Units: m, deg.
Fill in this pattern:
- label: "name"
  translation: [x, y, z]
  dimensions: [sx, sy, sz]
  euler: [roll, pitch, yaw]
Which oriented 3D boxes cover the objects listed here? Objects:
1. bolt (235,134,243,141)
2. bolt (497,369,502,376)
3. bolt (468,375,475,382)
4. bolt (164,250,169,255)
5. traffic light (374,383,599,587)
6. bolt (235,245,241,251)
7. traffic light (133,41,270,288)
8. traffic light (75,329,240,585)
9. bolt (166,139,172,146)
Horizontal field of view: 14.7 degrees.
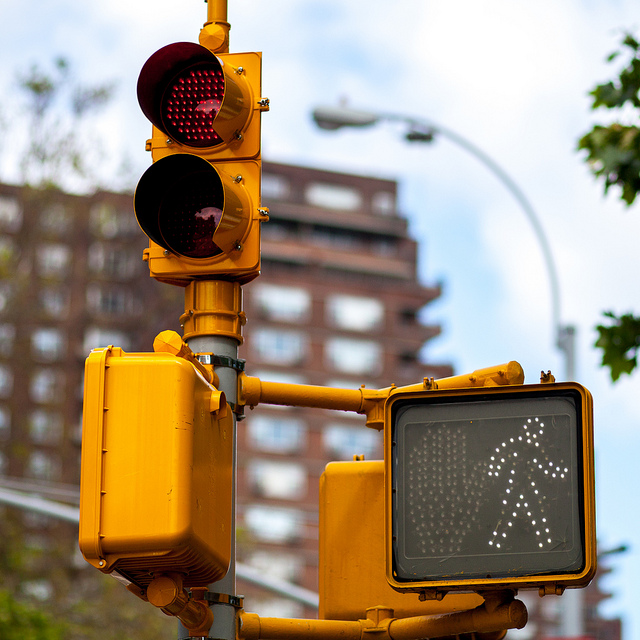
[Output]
- label: "bolt"
  translation: [-0.389, -0.847, 11.951]
  dimensions: [0.022, 0.029, 0.045]
  euler: [8, 32, 16]
- label: "bolt"
  translation: [0.873, 0.246, 11.923]
  dimensions: [0.019, 0.032, 0.016]
  euler: [-2, 3, -5]
- label: "bolt"
  translation: [0.742, 0.272, 11.942]
  dimensions: [0.020, 0.023, 0.038]
  euler: [-1, -6, 7]
- label: "bolt"
  translation: [-0.730, -0.310, 11.810]
  dimensions: [0.021, 0.020, 0.003]
  euler: [1, 10, -1]
- label: "traffic light"
  translation: [0.774, 0.722, 10.975]
  dimensions: [0.763, 0.899, 0.320]
  euler: [-1, -7, 9]
- label: "bolt"
  translation: [-0.384, -0.331, 11.790]
  dimensions: [0.026, 0.023, 0.005]
  euler: [-6, 12, -37]
- label: "traffic light"
  translation: [-0.560, -0.698, 11.784]
  dimensions: [0.575, 1.376, 0.438]
  euler: [0, -12, 5]
- label: "traffic light"
  translation: [-0.720, 0.611, 10.966]
  dimensions: [0.659, 1.093, 0.622]
  euler: [1, 10, -3]
- label: "bolt"
  translation: [-0.729, -0.826, 11.994]
  dimensions: [0.023, 0.028, 0.024]
  euler: [-6, -10, 26]
